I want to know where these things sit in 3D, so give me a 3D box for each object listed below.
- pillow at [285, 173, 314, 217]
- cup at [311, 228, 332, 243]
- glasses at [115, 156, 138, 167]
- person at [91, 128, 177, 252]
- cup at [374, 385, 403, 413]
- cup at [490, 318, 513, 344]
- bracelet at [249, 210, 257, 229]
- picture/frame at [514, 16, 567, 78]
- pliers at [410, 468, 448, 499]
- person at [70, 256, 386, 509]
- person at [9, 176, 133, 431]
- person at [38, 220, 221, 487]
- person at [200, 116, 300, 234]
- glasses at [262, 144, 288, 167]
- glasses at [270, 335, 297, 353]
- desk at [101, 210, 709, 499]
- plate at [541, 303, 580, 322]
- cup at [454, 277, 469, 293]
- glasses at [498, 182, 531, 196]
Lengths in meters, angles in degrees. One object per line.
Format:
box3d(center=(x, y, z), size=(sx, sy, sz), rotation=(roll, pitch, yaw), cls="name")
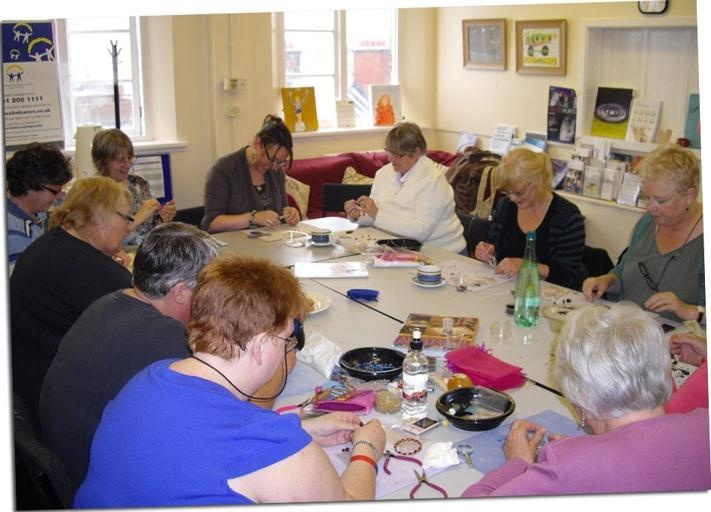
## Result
box3d(center=(-0.560, -0.609, 5.234), size=(0.107, 0.360, 0.310), rotation=(-17, 11, 43), cls="pillow")
box3d(center=(-0.216, -0.127, 3.336), size=(0.101, 0.049, 0.081), rotation=(7, 17, 37), cls="cup")
box3d(center=(-1.565, -0.624, 3.543), size=(0.079, 0.044, 0.076), rotation=(13, 25, 31), cls="glasses")
box3d(center=(-1.530, -0.436, 3.600), size=(0.590, 0.701, 0.480), rotation=(12, 19, 7), cls="person")
box3d(center=(0.116, 0.509, 1.873), size=(0.074, 0.054, 0.073), rotation=(0, 1, 0), cls="cup")
box3d(center=(0.621, 0.322, 2.260), size=(0.085, 0.081, 0.079), rotation=(-2, 6, 0), cls="cup")
box3d(center=(-0.705, -0.240, 3.628), size=(0.035, 0.094, 0.082), rotation=(7, -6, -4), cls="bracelet")
box3d(center=(1.753, -1.979, 5.028), size=(0.043, 0.560, 0.594), rotation=(-10, 14, -29), cls="picture/frame")
box3d(center=(0.204, 0.663, 1.532), size=(0.060, 0.012, 0.064), rotation=(-6, 32, -8), cls="pliers")
box3d(center=(-0.248, 0.363, 1.464), size=(0.789, 0.558, 0.597), rotation=(-14, 27, -41), cls="person")
box3d(center=(-1.281, 0.287, 2.453), size=(0.636, 1.254, 0.616), rotation=(2, 18, -24), cls="person")
box3d(center=(-0.775, 0.417, 1.973), size=(0.631, 1.073, 0.488), rotation=(-4, 28, -43), cls="person")
box3d(center=(-0.771, -0.590, 3.900), size=(0.585, 0.862, 0.849), rotation=(19, 18, 36), cls="person")
box3d(center=(-0.562, -0.706, 3.662), size=(0.131, 0.061, 0.132), rotation=(-4, 53, -45), cls="glasses")
box3d(center=(-0.202, 0.252, 1.529), size=(0.082, 0.024, 0.064), rotation=(-10, -10, 8), cls="glasses")
box3d(center=(-0.024, 0.250, 1.356), size=(1.153, 0.410, 0.816), rotation=(-3, 8, -10), cls="desk")
box3d(center=(0.934, 0.253, 2.462), size=(0.097, 0.016, 0.098), rotation=(15, 34, 42), cls="plate")
box3d(center=(0.552, 0.151, 2.729), size=(0.060, 0.051, 0.064), rotation=(-3, 8, 0), cls="cup")
box3d(center=(0.933, -0.391, 3.130), size=(0.106, 0.083, 0.158), rotation=(-11, 15, -37), cls="glasses")
